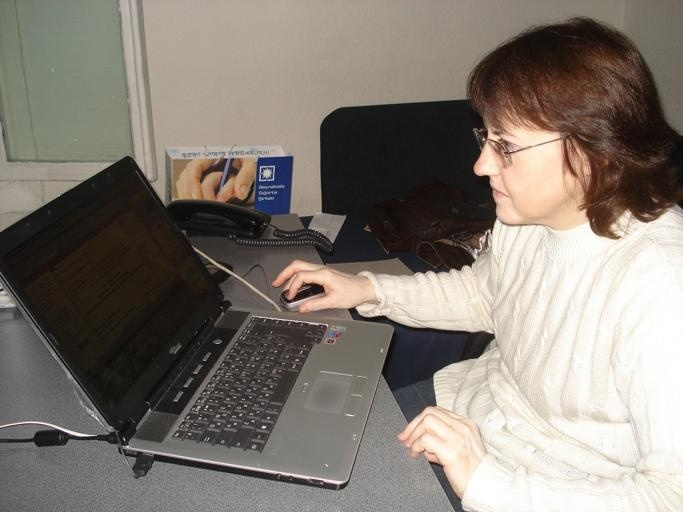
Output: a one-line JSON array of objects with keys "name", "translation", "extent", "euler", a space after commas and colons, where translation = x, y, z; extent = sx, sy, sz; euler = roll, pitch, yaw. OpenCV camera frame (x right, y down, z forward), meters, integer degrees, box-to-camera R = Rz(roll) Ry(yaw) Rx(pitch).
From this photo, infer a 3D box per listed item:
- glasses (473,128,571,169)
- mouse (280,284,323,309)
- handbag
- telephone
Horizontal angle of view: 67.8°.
[{"name": "glasses", "translation": [0.357, -0.229, 1.002], "extent": [0.107, 0.034, 0.107], "euler": [-12, 27, -10]}, {"name": "mouse", "translation": [-0.094, 0.096, 1.253], "extent": [0.092, 0.024, 0.052], "euler": [-18, 34, -22]}, {"name": "handbag", "translation": [0.318, -0.163, 1.921], "extent": [0.309, 0.114, 0.309], "euler": [-5, 16, -6]}, {"name": "telephone", "translation": [-0.383, -0.114, 1.562], "extent": [0.242, 0.080, 0.136], "euler": [3, 43, 0]}]
